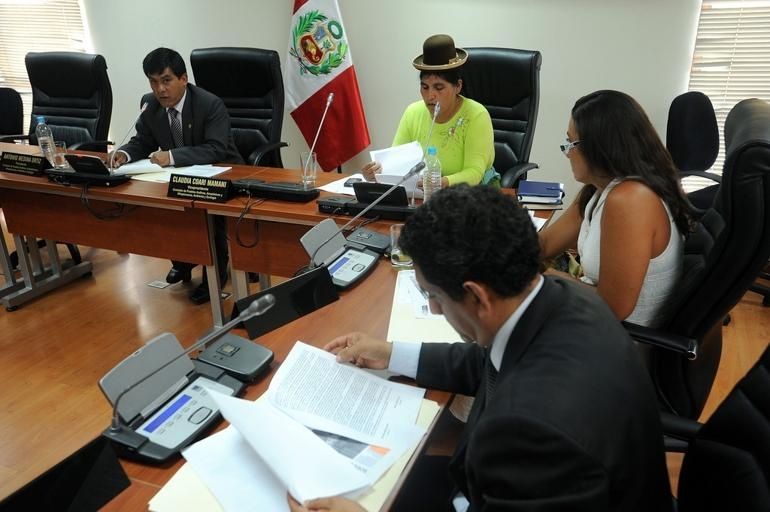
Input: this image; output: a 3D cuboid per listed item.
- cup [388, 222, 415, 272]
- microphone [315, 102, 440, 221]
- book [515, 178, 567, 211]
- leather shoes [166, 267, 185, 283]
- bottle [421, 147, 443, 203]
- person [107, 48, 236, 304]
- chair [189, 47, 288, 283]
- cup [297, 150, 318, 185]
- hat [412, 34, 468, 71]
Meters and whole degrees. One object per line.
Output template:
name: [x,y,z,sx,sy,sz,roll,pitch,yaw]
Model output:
cup: [0.075,-0.018,2.215,0.111,0.181,0.111,0,0,0]
microphone: [0.018,-0.502,2.634,0.393,0.275,0.274,2,-20,-37]
book: [0.806,-0.325,2.721,0.189,0.058,0.185,5,36,10]
leather shoes: [-1.469,0.140,3.652,0.078,0.103,0.151,0,2,13]
bottle: [0.240,-0.412,2.703,0.102,0.351,0.104,-3,44,3]
person: [-1.455,-0.558,3.676,0.736,1.596,0.991,15,19,35]
chair: [-1.129,-0.685,3.650,0.852,1.472,0.806,2,18,-8]
cup: [-0.440,-0.489,2.956,0.110,0.179,0.111,2,1,0]
hat: [0.322,-1.186,2.986,0.385,0.179,0.424,-5,23,-1]
